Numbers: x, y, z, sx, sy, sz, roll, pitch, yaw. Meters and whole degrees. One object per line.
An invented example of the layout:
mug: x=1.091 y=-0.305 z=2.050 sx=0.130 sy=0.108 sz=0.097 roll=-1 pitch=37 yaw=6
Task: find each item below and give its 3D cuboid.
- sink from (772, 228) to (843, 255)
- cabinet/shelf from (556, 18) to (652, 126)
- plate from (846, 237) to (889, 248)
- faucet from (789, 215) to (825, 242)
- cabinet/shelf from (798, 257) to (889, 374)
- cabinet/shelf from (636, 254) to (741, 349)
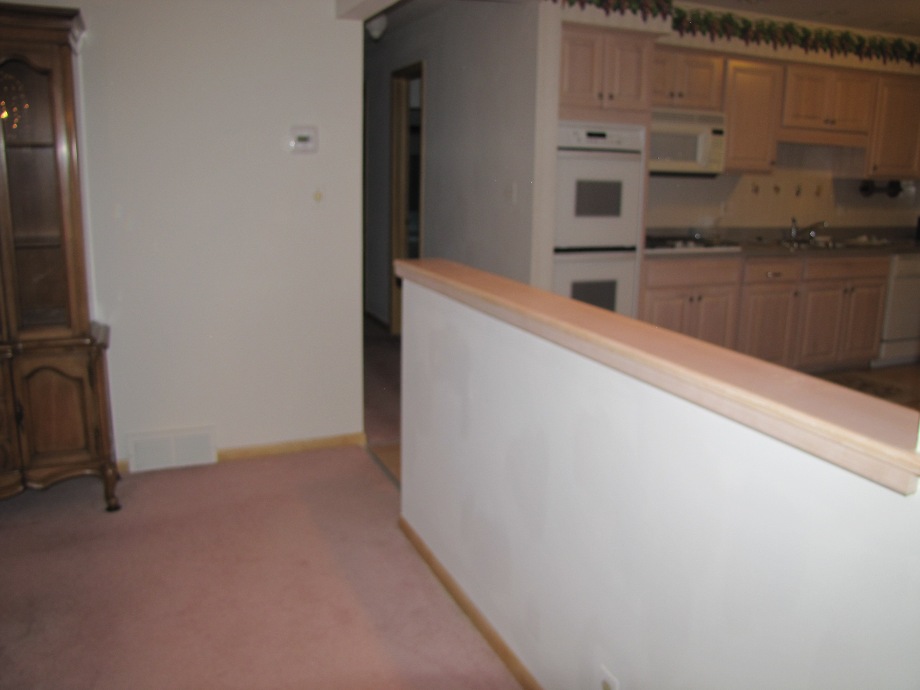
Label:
sink: x=2.968 y=-0.897 z=5.927 sx=0.503 sy=0.201 sz=1.199 roll=12 pitch=13 yaw=26
cabinet/shelf: x=0.877 y=-1.712 z=4.725 sx=0.845 sy=0.672 sz=0.500 roll=-4 pitch=16 yaw=-18
plate: x=3.635 y=-0.922 z=6.223 sx=0.301 sy=0.108 sz=0.876 roll=14 pitch=14 yaw=30
faucet: x=3.060 y=-1.054 z=6.197 sx=0.228 sy=0.170 sz=0.248 roll=2 pitch=11 yaw=17
cabinet/shelf: x=3.024 y=-0.280 z=5.566 sx=0.701 sy=0.742 sz=0.481 roll=-6 pitch=15 yaw=-19
cabinet/shelf: x=1.453 y=-0.332 z=4.498 sx=0.563 sy=0.573 sz=0.336 roll=-2 pitch=13 yaw=-13
